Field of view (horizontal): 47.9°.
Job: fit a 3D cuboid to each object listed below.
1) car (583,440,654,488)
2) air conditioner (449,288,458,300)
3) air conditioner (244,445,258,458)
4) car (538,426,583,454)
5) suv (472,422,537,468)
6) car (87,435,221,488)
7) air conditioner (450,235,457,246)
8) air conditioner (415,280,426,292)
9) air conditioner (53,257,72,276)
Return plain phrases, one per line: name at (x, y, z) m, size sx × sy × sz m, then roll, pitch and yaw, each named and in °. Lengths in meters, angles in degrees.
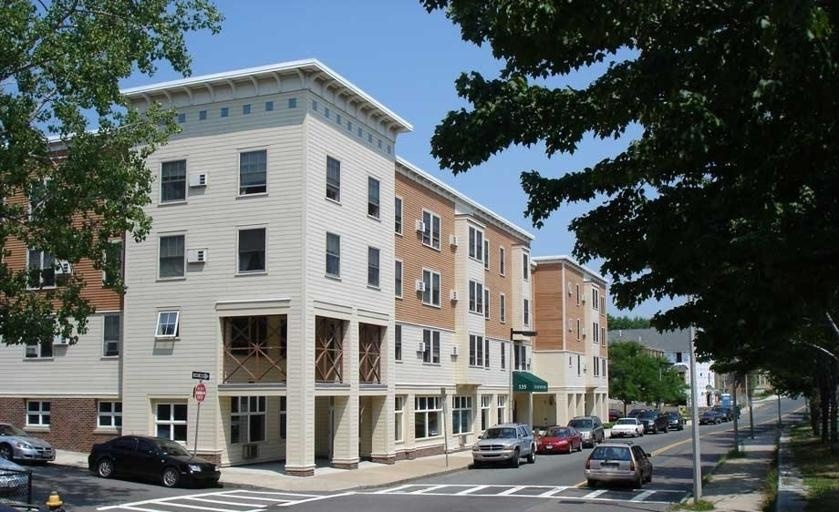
car at (8.705, 9.020, 40.856) m, size 3.138 × 2.126 × 1.690 m, roll 8°, pitch -22°, yaw -29°
air conditioner at (2.042, 2.408, 58.322) m, size 0.514 × 0.662 × 0.707 m, roll -5°, pitch -9°, yaw 33°
air conditioner at (-8.218, 9.528, 45.774) m, size 0.211 × 0.760 × 1.195 m, roll -10°, pitch -21°, yaw 19°
car at (8.595, 11.373, 57.971) m, size 1.674 × 1.800 × 3.319 m, roll -17°, pitch -24°, yaw 34°
suv at (4.459, 9.992, 49.732) m, size 1.878 × 2.540 × 4.053 m, roll -14°, pitch -22°, yaw 29°
car at (-11.156, 8.679, 39.594) m, size 5.266 × 2.305 × 1.254 m, roll -9°, pitch -20°, yaw 15°
air conditioner at (2.043, -0.926, 58.379) m, size 0.208 × 0.571 × 0.592 m, roll -5°, pitch -10°, yaw 27°
air conditioner at (-0.039, 1.731, 53.718) m, size 0.293 × 0.523 × 0.589 m, roll -6°, pitch -9°, yaw 32°
air conditioner at (-15.657, 0.485, 41.361) m, size 0.960 × 0.924 × 0.610 m, roll -1°, pitch -10°, yaw -1°
